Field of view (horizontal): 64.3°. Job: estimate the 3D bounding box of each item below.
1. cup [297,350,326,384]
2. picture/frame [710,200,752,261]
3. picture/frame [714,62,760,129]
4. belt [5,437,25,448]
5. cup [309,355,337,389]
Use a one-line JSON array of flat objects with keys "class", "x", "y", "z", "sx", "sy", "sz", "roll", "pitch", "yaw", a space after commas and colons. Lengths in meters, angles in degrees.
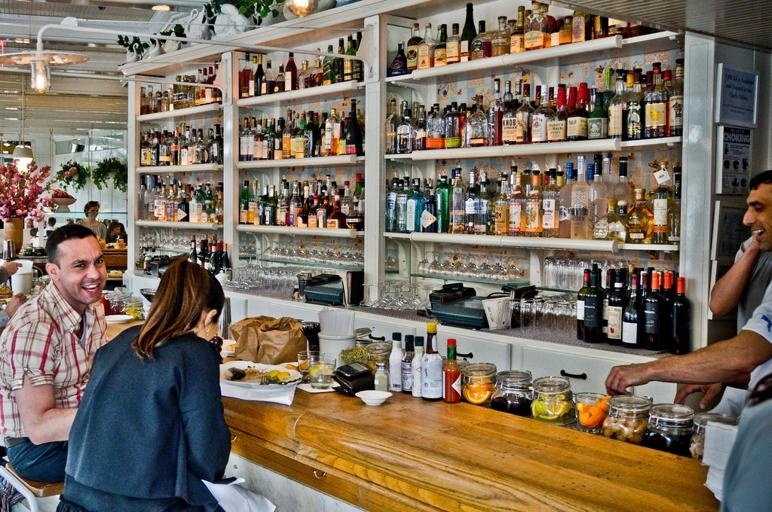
[{"class": "cup", "x": -0.385, "y": 0.565, "z": 3.106, "sx": 0.143, "sy": 0.150, "sz": 0.152, "roll": 0, "pitch": -2, "yaw": 0}, {"class": "picture/frame", "x": 1.995, "y": -0.145, "z": 3.610, "sx": 0.384, "sy": 0.421, "sz": 0.045, "roll": -3, "pitch": 3, "yaw": -34}, {"class": "picture/frame", "x": 2.055, "y": -0.951, "z": 3.653, "sx": 0.466, "sy": 0.357, "sz": 0.063, "roll": -2, "pitch": 0, "yaw": -37}, {"class": "belt", "x": -1.787, "y": 0.896, "z": 2.963, "sx": 0.074, "sy": 0.050, "sz": 0.073, "roll": -4, "pitch": -6, "yaw": 37}, {"class": "cup", "x": -0.331, "y": 0.592, "z": 3.139, "sx": 0.152, "sy": 0.140, "sz": 0.141, "roll": 0, "pitch": 0, "yaw": 0}]
